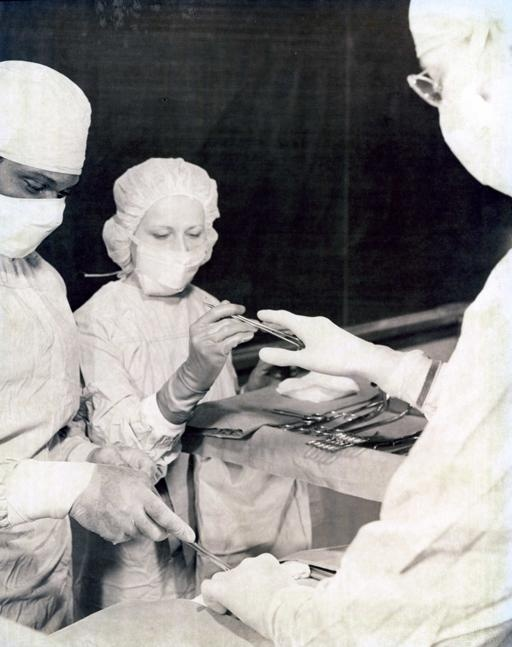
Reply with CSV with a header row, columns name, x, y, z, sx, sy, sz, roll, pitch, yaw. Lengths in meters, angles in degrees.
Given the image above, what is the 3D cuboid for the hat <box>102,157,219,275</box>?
name,x,y,z,sx,sy,sz,roll,pitch,yaw
hat,-0.204,-0.230,2.421,0.210,0.217,0.100,5,14,-17

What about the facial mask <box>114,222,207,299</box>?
name,x,y,z,sx,sy,sz,roll,pitch,yaw
facial mask,-0.214,-0.126,2.442,0.169,0.083,0.141,33,25,31

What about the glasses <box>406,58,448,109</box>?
name,x,y,z,sx,sy,sz,roll,pitch,yaw
glasses,0.240,-0.336,1.634,0.024,0.045,0.065,-37,34,-21

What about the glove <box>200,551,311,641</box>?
name,x,y,z,sx,sy,sz,roll,pitch,yaw
glove,0.005,0.388,1.745,0.094,0.040,0.139,-27,26,-30
